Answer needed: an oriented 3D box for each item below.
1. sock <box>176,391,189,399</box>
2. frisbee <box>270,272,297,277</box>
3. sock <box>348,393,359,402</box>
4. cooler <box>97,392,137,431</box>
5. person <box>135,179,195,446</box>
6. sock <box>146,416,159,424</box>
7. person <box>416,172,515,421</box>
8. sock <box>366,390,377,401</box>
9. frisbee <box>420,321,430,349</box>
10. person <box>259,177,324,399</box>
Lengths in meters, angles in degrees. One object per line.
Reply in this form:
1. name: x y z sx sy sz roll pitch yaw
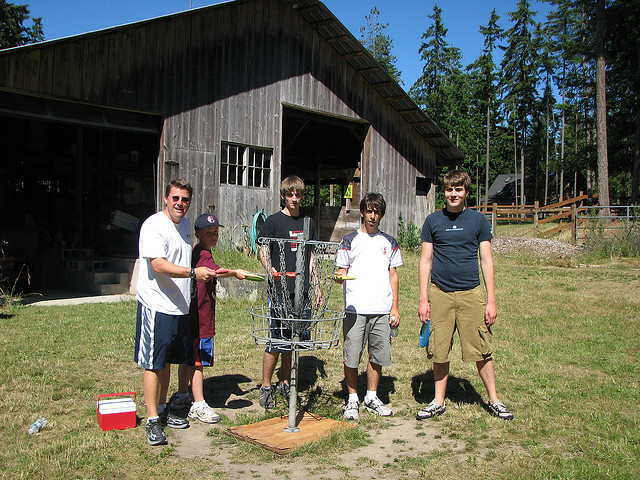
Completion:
1. sock: -1.634 1.852 6.973 0.124 0.053 0.064 -3 11 -19
2. frisbee: -0.403 0.394 6.618 0.339 0.065 0.102 -1 -1 -6
3. sock: 0.403 1.896 7.057 0.106 0.138 0.178 2 10 7
4. cooler: -2.357 1.921 6.764 0.431 0.285 0.634 -3 12 -23
5. person: -1.700 0.770 6.403 0.691 2.782 0.585 -4 10 -30
6. sock: -1.834 1.955 6.380 0.124 0.093 0.103 -1 10 -10
7. person: 1.670 0.649 6.996 0.963 2.864 0.588 2 9 10
8. sock: 0.611 1.866 7.045 0.110 0.139 0.076 6 -9 -11
9. frisbee: 1.260 1.150 7.077 0.031 0.231 0.199 5 0 -18
10. person: -0.347 0.676 6.816 0.716 2.747 1.330 0 9 -7
